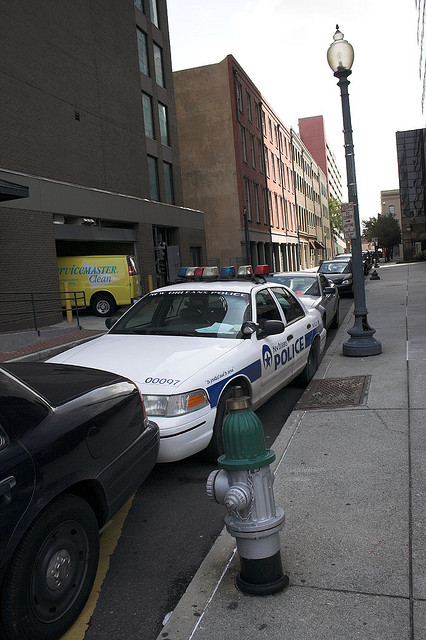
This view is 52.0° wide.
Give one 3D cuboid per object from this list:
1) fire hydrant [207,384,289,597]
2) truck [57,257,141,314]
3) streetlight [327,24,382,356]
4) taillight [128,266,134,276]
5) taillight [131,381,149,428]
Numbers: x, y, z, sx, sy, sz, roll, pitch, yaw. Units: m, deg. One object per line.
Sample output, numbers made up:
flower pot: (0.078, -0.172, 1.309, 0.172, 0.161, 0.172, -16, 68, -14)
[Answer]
fire hydrant: (0.140, 0.783, 2.087, 0.328, 0.922, 0.486, -7, 1, 5)
truck: (-4.723, -1.667, 18.436, 4.199, 2.731, 2.884, 1, 6, 3)
streetlight: (2.317, -2.231, 7.462, 0.623, 5.165, 0.953, -7, 1, 21)
taillight: (-3.441, -2.046, 18.231, 0.256, 0.581, 0.295, -4, 6, -11)
taillight: (-0.501, 0.563, 3.033, 0.063, 0.304, 0.551, -7, 0, -11)
